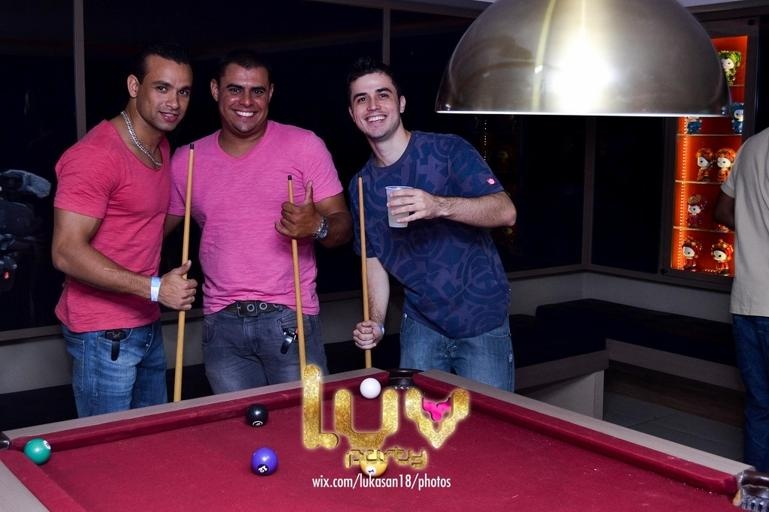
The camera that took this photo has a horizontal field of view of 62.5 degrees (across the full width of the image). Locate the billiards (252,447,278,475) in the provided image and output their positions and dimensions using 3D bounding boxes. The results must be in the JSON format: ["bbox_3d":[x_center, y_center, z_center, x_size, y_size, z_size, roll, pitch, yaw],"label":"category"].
[{"bbox_3d":[-0.341,0.584,1.833,0.069,0.073,0.070,-2,-9,30],"label":"billiards"}]

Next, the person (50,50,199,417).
[{"bbox_3d":[-1.046,-0.061,2.603,0.576,1.562,0.545,-5,10,-28],"label":"person"}]

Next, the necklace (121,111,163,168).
[{"bbox_3d":[-1.031,-0.490,2.659,0.038,0.228,0.178,-33,5,5],"label":"necklace"}]

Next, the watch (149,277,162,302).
[{"bbox_3d":[-0.895,0.129,2.477,0.026,0.082,0.083,-1,12,-7],"label":"watch"}]

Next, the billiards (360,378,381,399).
[{"bbox_3d":[-0.053,0.492,2.357,0.079,0.069,0.071,19,35,-22],"label":"billiards"}]

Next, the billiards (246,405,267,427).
[{"bbox_3d":[-0.420,0.528,2.145,0.065,0.079,0.067,2,2,44],"label":"billiards"}]

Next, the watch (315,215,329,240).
[{"bbox_3d":[-0.257,-0.113,2.649,0.056,0.095,0.088,16,-5,1],"label":"watch"}]

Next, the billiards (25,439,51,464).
[{"bbox_3d":[-1.025,0.572,1.869,0.065,0.068,0.095,-7,12,-35],"label":"billiards"}]
